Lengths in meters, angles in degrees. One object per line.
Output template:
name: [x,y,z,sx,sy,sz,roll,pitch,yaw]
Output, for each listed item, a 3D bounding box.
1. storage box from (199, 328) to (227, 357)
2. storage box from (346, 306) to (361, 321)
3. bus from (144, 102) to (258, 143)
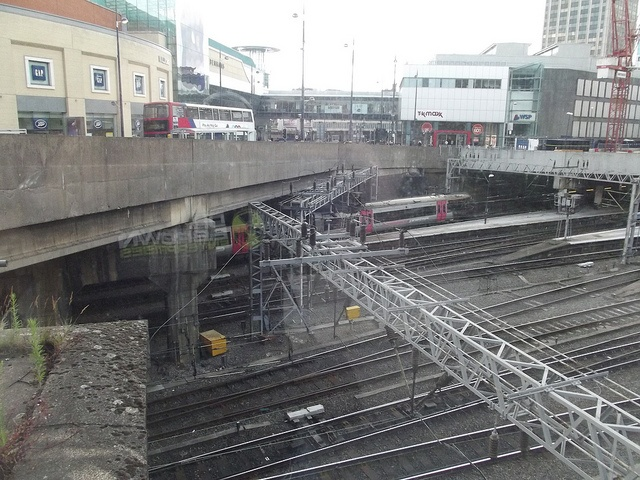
storage box: [-5.149,5.094,31.027,1.421,0.895,0.953,9,17,42]
storage box: [1.578,3.527,30.912,0.579,0.580,0.660,-3,13,-4]
bus: [-8.301,-8.657,47.117,5.059,3.117,13.821,3,13,22]
